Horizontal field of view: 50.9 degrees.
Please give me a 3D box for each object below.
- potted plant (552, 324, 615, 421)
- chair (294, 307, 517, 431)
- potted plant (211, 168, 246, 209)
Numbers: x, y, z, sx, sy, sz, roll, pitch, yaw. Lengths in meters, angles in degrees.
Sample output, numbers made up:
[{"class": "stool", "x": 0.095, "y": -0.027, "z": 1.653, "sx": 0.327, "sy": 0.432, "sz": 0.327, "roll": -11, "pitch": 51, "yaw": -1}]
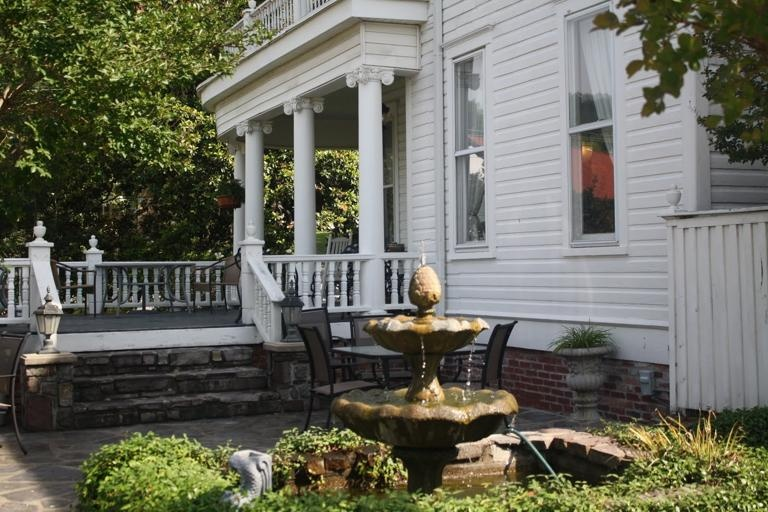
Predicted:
[{"class": "potted plant", "x": 2.495, "y": 1.451, "z": 10.135, "sx": 0.663, "sy": 1.086, "sz": 0.803, "roll": 3, "pitch": 8, "yaw": 28}, {"class": "chair", "x": 0.158, "y": 1.333, "z": 10.540, "sx": 2.515, "sy": 1.294, "sz": 2.384, "roll": -1, "pitch": 7, "yaw": -6}, {"class": "potted plant", "x": -3.123, "y": -1.276, "z": 16.378, "sx": 0.556, "sy": 0.584, "sz": 0.828, "roll": -2, "pitch": 7, "yaw": -9}]
